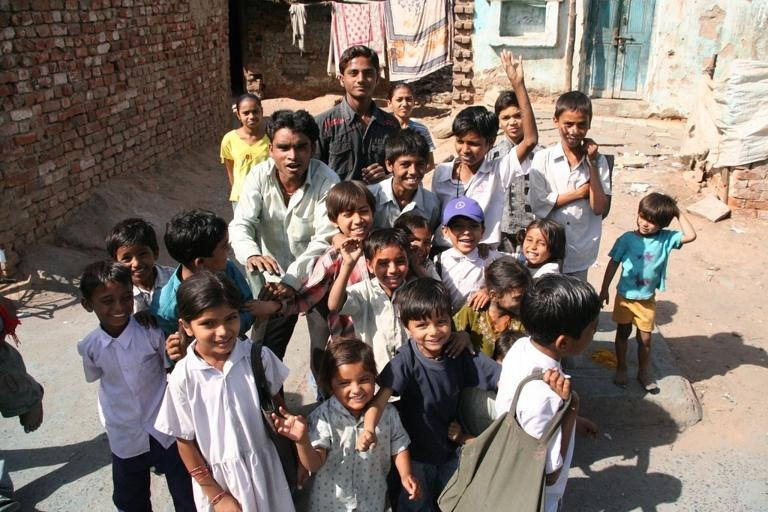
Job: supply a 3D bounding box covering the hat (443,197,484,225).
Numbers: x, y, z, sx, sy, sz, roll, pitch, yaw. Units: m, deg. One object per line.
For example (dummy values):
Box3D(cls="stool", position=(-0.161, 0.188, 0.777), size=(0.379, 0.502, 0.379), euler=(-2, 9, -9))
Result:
Box3D(cls="hat", position=(0.628, -0.356, 4.469), size=(0.307, 0.230, 0.244), euler=(5, 19, 13))
